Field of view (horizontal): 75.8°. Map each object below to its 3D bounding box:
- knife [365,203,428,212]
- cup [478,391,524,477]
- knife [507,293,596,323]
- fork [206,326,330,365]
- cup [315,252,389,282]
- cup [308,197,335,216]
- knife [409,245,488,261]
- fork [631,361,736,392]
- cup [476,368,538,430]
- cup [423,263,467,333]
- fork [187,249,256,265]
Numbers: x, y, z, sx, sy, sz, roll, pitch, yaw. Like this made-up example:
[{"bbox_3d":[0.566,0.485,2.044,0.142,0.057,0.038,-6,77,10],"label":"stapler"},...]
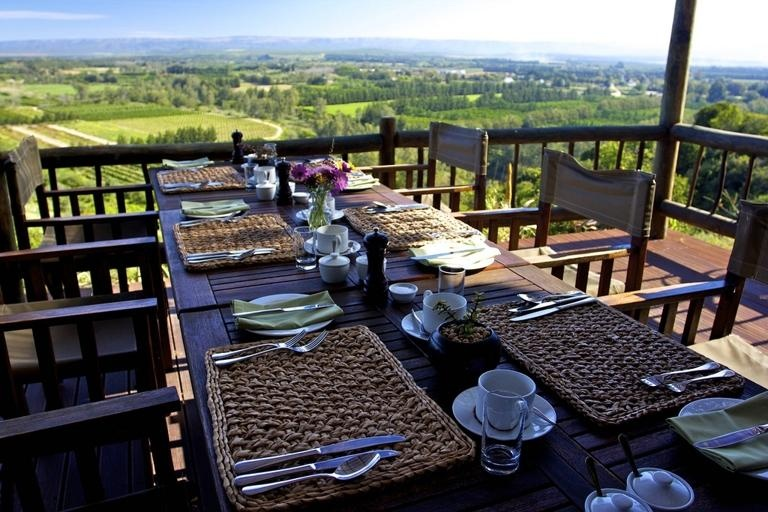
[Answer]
[{"bbox_3d":[0.060,-0.247,2.508,0.323,0.028,0.099,-4,17,-18],"label":"knife"},{"bbox_3d":[0.274,0.394,1.139,0.095,0.154,0.159,3,24,13],"label":"cup"},{"bbox_3d":[0.548,0.173,1.605,0.242,0.015,0.044,-10,17,-21],"label":"knife"},{"bbox_3d":[-0.323,0.267,1.430,0.344,0.045,0.098,-11,22,-21],"label":"fork"},{"bbox_3d":[-0.103,0.032,1.804,0.223,0.078,0.107,-1,21,-8],"label":"cup"},{"bbox_3d":[-0.282,-0.230,2.263,0.113,0.073,0.103,1,22,-1],"label":"cup"},{"bbox_3d":[0.261,-0.012,1.982,0.298,0.013,0.038,-5,30,-17],"label":"knife"},{"bbox_3d":[0.811,0.326,1.326,0.266,0.012,0.092,-8,17,-19],"label":"fork"},{"bbox_3d":[0.285,0.330,1.173,0.118,0.096,0.144,4,19,9],"label":"cup"},{"bbox_3d":[0.162,0.123,1.529,0.137,0.139,0.203,-1,23,2],"label":"cup"},{"bbox_3d":[-0.640,0.006,1.938,0.232,0.031,0.035,-5,30,-18],"label":"fork"}]
